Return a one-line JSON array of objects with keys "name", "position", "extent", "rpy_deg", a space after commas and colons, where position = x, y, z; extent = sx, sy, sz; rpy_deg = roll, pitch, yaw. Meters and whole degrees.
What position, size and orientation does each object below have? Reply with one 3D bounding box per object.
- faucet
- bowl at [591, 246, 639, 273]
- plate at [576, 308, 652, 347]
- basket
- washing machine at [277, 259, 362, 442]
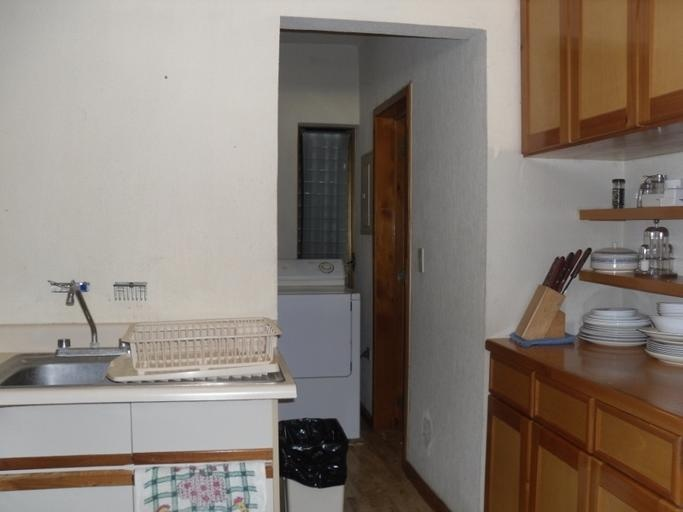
[{"name": "faucet", "position": [-1.266, 0.262, 2.746], "extent": [0.190, 0.302, 0.298], "rpy_deg": [-6, 6, -28]}, {"name": "bowl", "position": [1.323, -0.003, 2.869], "extent": [0.137, 0.102, 0.142], "rpy_deg": [-1, 3, 0]}, {"name": "plate", "position": [1.293, 0.302, 2.778], "extent": [0.195, 0.100, 0.206], "rpy_deg": [-3, 5, -10]}, {"name": "basket", "position": [-0.606, 0.364, 2.539], "extent": [0.634, 0.160, 0.419], "rpy_deg": [-4, 6, -13]}, {"name": "washing machine", "position": [-0.195, 0.693, 4.379], "extent": [0.619, 1.261, 0.482], "rpy_deg": [-3, 6, -8]}]
